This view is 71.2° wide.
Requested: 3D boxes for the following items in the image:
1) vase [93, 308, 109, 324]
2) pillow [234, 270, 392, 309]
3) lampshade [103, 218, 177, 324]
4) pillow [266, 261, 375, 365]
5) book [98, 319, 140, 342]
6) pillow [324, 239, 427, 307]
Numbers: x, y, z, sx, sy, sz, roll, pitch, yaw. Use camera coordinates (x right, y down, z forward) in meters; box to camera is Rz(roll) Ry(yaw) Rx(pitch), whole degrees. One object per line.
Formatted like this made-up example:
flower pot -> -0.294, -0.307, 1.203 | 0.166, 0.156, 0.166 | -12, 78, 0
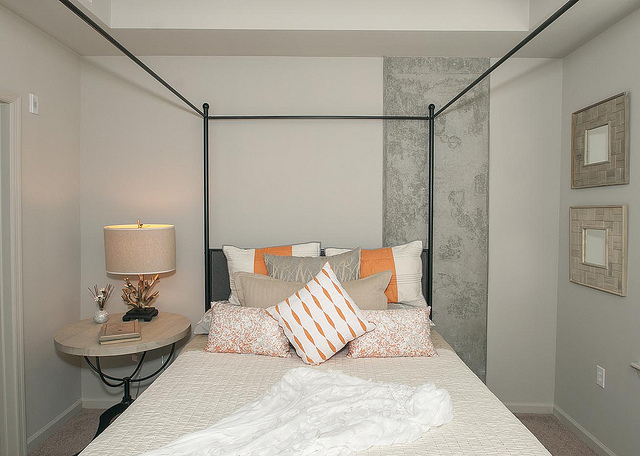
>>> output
vase -> -1.618, 0.640, 3.324 | 0.108, 0.102, 0.106 | 2, 2, -42
pillow -> -0.084, 0.433, 3.095 | 1.166, 0.281, 0.236 | -2, 11, 20
lampshade -> -1.357, 0.323, 3.421 | 0.479, 0.741, 0.550 | -3, 2, -20
pillow -> -0.018, 0.545, 2.768 | 0.531, 0.525, 0.162 | -34, -20, -14
book -> -1.346, 0.688, 3.020 | 0.164, 0.039, 0.161 | -1, 5, -42
pillow -> 0.409, 0.368, 3.366 | 0.744, 0.504, 0.262 | -1, -4, -3
